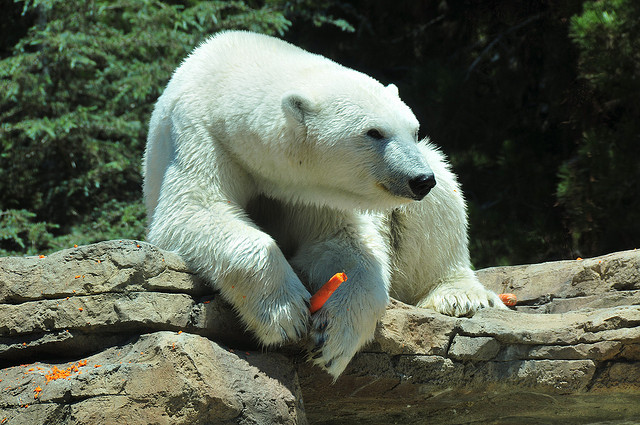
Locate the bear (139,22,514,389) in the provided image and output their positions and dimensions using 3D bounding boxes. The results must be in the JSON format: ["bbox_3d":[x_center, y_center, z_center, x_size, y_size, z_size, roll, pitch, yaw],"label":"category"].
[{"bbox_3d":[-0.171,-0.375,8.039,3.280,2.685,2.497,10,18,43],"label":"bear"}]

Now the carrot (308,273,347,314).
[{"bbox_3d":[0.049,0.640,7.014,0.150,0.563,0.144,22,40,-29],"label":"carrot"}]
